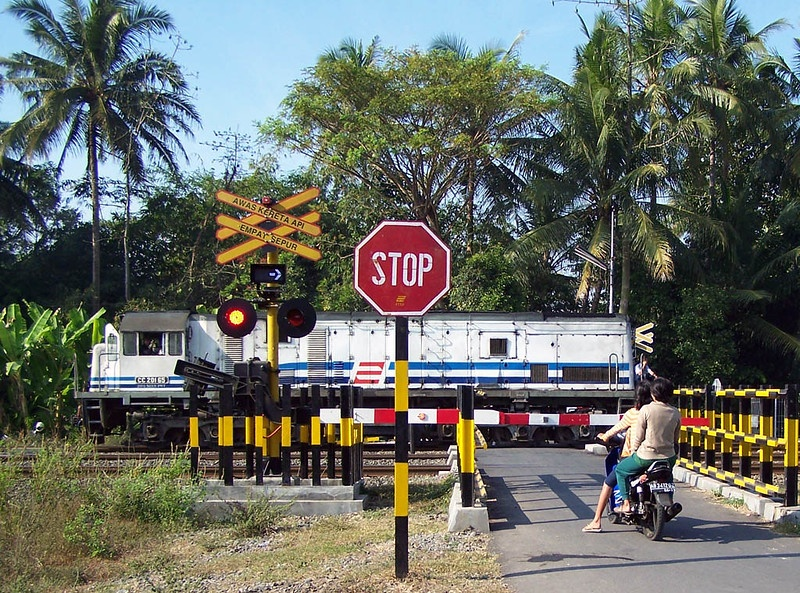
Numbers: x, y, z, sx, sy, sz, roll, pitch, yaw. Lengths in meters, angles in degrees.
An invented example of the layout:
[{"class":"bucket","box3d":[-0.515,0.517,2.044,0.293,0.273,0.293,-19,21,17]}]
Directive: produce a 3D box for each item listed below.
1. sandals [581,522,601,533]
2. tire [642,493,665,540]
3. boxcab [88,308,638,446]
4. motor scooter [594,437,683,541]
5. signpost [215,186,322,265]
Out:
[{"class":"sandals","box3d":[3.619,4.336,19.343,0.315,0.187,0.167,4,-4,13]},{"class":"tire","box3d":[4.702,4.114,19.015,0.236,0.748,0.405,-7,13,-20]},{"class":"boxcab","box3d":[-0.667,2.319,29.844,15.283,4.317,1.576,-3,12,-2]},{"class":"motor scooter","box3d":[4.509,3.768,19.106,0.802,1.491,2.135,2,-5,-1]},{"class":"signpost","box3d":[-2.764,-1.508,21.838,2.179,1.499,0.870,-3,13,-2]}]
